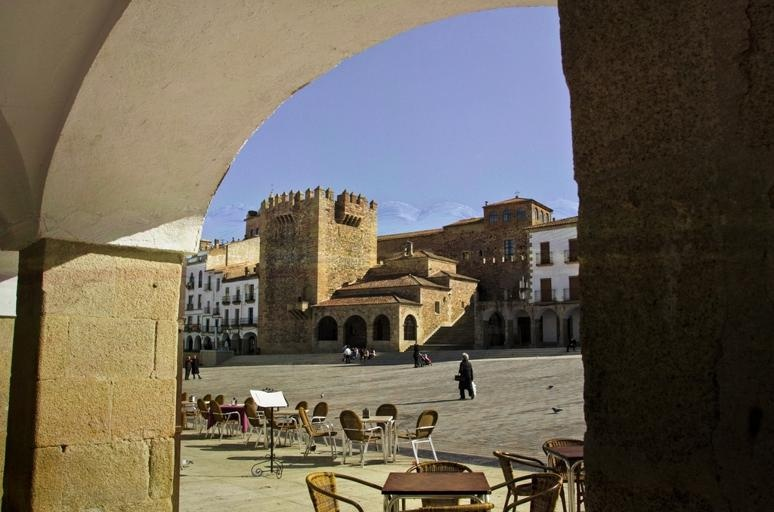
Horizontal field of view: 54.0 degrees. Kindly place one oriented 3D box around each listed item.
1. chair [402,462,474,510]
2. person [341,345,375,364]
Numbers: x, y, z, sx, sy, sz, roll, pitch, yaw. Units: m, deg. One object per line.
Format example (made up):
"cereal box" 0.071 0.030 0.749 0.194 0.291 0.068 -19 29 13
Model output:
"chair" 0.361 1.548 5.284 0.429 0.486 0.377 -1 -24 1
"person" -1.335 4.442 33.960 1.015 0.484 1.404 -1 -5 16
